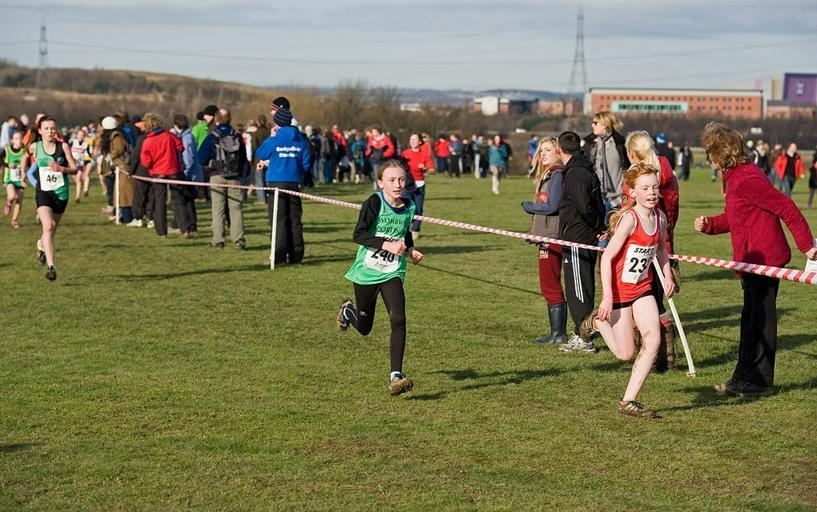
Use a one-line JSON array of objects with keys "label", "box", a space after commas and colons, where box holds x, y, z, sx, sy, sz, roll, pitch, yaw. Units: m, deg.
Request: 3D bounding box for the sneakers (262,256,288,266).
[{"label": "sneakers", "box": [-2.310, 0.096, 18.680, 0.436, 0.169, 0.145, 1, -3, -4]}]

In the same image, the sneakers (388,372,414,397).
[{"label": "sneakers", "box": [-0.110, 1.486, 12.375, 0.180, 0.160, 0.337, 8, -7, -30]}]

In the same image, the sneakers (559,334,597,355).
[{"label": "sneakers", "box": [2.186, 1.169, 14.163, 0.548, 0.237, 0.225, 3, -3, 6]}]

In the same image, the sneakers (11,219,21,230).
[{"label": "sneakers", "box": [-8.124, -0.638, 22.285, 0.257, 0.233, 0.167, 2, 6, 16]}]

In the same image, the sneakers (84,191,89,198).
[{"label": "sneakers", "box": [-8.645, -1.648, 28.925, 0.146, 0.168, 0.431, 0, -5, -17]}]

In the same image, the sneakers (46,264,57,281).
[{"label": "sneakers", "box": [-5.405, 0.267, 16.317, 0.146, 0.168, 0.383, 2, -6, -27]}]

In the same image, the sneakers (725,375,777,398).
[{"label": "sneakers", "box": [3.996, 1.526, 12.629, 0.506, 0.201, 0.227, -4, 6, 1]}]

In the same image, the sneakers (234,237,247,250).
[{"label": "sneakers", "box": [-3.113, -0.210, 19.908, 0.181, 0.183, 0.218, -4, 3, 0]}]

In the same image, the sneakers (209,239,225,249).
[{"label": "sneakers", "box": [-3.520, -0.208, 19.923, 0.182, 0.130, 0.148, 4, -2, 1]}]

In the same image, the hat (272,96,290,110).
[{"label": "hat", "box": [-2.232, -2.683, 18.879, 0.292, 0.238, 0.226, -11, 27, -44]}]

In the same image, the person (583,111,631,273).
[{"label": "person", "box": [2.999, -1.042, 16.246, 0.779, 2.179, 0.831, -8, 9, 1]}]

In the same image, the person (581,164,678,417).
[{"label": "person", "box": [2.559, 0.355, 12.291, 0.840, 2.812, 0.957, 4, 9, 13]}]

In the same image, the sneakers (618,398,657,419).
[{"label": "sneakers", "box": [2.579, 1.726, 12.174, 0.404, 0.150, 0.187, 2, 3, 5]}]

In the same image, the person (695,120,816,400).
[{"label": "person", "box": [4.022, 0.053, 12.651, 1.374, 3.145, 0.617, 6, 10, 27]}]

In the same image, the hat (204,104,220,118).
[{"label": "hat", "box": [-3.797, -2.783, 20.662, 0.224, 0.153, 0.290, 13, 27, 5]}]

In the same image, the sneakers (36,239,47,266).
[{"label": "sneakers", "box": [-5.806, -0.038, 17.058, 0.152, 0.425, 0.200, -18, 23, -41]}]

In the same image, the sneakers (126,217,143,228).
[{"label": "sneakers", "box": [-5.748, -0.683, 22.710, 0.357, 0.172, 0.131, 5, 4, 25]}]

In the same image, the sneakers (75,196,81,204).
[{"label": "sneakers", "box": [-8.019, -1.343, 26.142, 0.113, 0.136, 0.346, 2, -20, -17]}]

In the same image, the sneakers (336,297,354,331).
[{"label": "sneakers", "box": [-0.783, 0.776, 13.170, 0.188, 0.482, 0.230, 9, 28, 9]}]

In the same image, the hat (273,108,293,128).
[{"label": "hat", "box": [-2.190, -2.396, 18.754, 0.289, 0.301, 0.338, 6, 16, -9]}]

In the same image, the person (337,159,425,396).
[{"label": "person", "box": [-0.340, 0.211, 12.792, 0.918, 2.705, 1.443, 2, 9, 0]}]

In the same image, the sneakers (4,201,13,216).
[{"label": "sneakers", "box": [-8.900, -1.032, 23.977, 0.116, 0.329, 0.202, 12, -41, -42]}]
